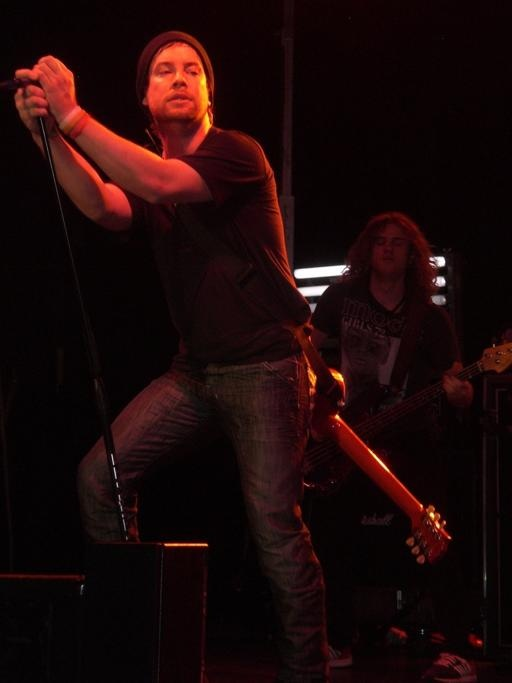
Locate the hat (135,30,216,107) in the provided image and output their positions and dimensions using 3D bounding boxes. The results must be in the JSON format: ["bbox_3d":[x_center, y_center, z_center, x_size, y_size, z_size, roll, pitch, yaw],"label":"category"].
[{"bbox_3d":[-0.204,-0.676,1.946,0.206,0.229,0.109,-5,18,-3],"label":"hat"}]

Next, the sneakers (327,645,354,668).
[{"bbox_3d":[0.283,1.057,2.660,0.077,0.058,0.112,-3,1,5],"label":"sneakers"}]

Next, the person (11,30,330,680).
[{"bbox_3d":[-0.178,-0.004,1.742,0.611,1.232,0.491,-3,1,-14],"label":"person"}]
